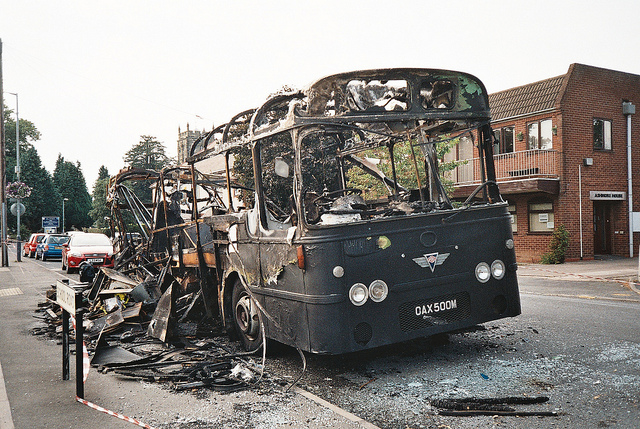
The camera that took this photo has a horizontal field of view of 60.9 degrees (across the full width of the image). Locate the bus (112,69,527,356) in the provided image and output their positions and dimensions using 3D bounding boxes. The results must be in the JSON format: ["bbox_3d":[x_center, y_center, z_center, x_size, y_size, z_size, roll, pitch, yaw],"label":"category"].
[{"bbox_3d":[-0.439,-0.026,10.122,3.194,4.598,7.220,-7,7,-42],"label":"bus"}]

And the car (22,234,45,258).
[{"bbox_3d":[-20.013,2.267,38.089,1.619,1.290,3.044,-2,8,-29],"label":"car"}]
